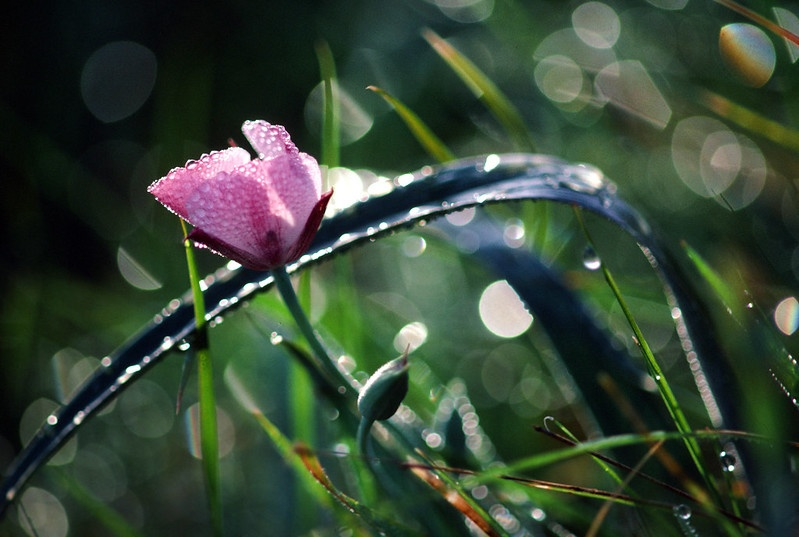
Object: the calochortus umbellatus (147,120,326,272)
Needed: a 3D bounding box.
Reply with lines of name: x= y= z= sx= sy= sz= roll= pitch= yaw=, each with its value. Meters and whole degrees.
calochortus umbellatus: x=-0.323 y=-0.181 z=1.614 sx=0.286 sy=0.246 sz=0.339 roll=-25 pitch=-18 yaw=-21
